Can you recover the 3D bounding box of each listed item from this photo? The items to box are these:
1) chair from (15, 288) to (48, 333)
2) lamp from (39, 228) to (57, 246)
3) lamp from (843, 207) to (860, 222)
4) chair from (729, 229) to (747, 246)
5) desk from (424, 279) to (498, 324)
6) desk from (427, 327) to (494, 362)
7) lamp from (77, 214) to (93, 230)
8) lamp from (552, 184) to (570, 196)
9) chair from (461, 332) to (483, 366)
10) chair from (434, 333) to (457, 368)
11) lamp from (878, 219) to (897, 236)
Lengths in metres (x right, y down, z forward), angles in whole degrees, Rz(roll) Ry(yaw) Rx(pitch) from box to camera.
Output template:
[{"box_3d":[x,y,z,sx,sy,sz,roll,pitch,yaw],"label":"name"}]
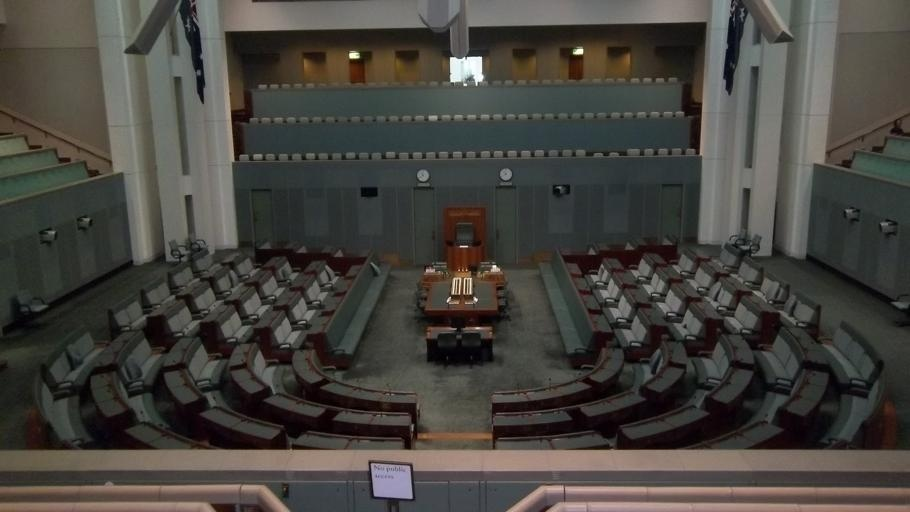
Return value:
[{"box_3d":[-13.656,1.665,19.316,0.899,1.030,0.936,3,14,-33],"label":"chair"},{"box_3d":[-13.869,-0.689,20.474,0.344,0.560,0.752,-1,8,-5],"label":"lamp"},{"box_3d":[14.152,-1.511,21.319,0.313,0.525,0.556,0,8,1],"label":"lamp"},{"box_3d":[11.936,-0.838,25.153,0.706,0.823,0.622,-4,11,-1],"label":"chair"},{"box_3d":[0.223,1.541,19.723,2.291,0.918,2.246,0,8,-1],"label":"desk"},{"box_3d":[0.137,2.537,17.890,2.091,1.099,1.184,0,20,0],"label":"desk"},{"box_3d":[-13.529,-1.252,21.932,0.300,0.559,0.691,0,8,4],"label":"lamp"},{"box_3d":[4.660,-2.821,26.209,0.921,0.464,0.600,1,-15,3],"label":"lamp"},{"box_3d":[0.501,2.675,17.392,0.749,1.135,0.865,0,11,2],"label":"chair"},{"box_3d":[-0.211,2.675,17.416,0.779,0.982,0.879,1,9,0],"label":"chair"},{"box_3d":[14.333,-0.951,19.805,0.323,0.562,0.650,-1,8,0],"label":"lamp"}]
